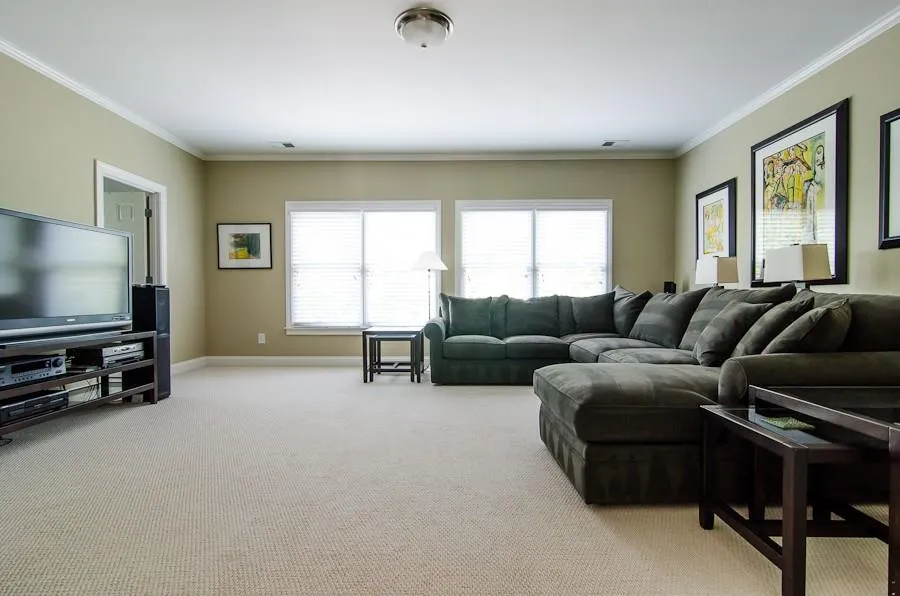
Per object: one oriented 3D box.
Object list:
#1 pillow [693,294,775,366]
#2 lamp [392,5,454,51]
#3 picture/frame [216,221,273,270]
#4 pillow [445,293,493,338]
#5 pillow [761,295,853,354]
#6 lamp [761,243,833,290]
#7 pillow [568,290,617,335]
[{"bbox_3d":[2.080,0.262,4.419,0.159,0.514,0.488,36,-2,-9],"label":"pillow"},{"bbox_3d":[-0.204,-2.180,4.807,0.485,0.246,0.279,-1,6,-2],"label":"lamp"},{"bbox_3d":[-2.689,-0.694,7.793,0.653,0.547,0.041,0,-1,-3],"label":"picture/frame"},{"bbox_3d":[0.215,0.227,7.039,0.484,0.430,0.174,3,-25,-5],"label":"pillow"},{"bbox_3d":[2.258,0.077,3.745,0.304,0.255,0.655,-8,1,11],"label":"pillow"},{"bbox_3d":[2.942,-0.284,5.047,0.369,0.319,0.479,-1,1,3],"label":"lamp"},{"bbox_3d":[1.667,0.191,6.981,0.520,0.476,0.184,-1,-17,10],"label":"pillow"}]
